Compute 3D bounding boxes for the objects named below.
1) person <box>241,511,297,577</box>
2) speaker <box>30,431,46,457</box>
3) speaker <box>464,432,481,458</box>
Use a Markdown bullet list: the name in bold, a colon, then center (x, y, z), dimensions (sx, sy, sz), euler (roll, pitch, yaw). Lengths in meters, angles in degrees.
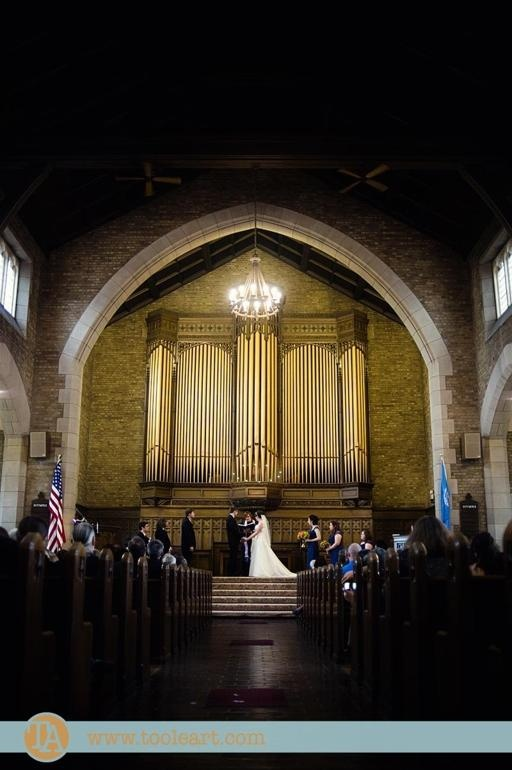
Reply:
- **person**: center (0.280, 3.376, 13.188), dimensions (1.226, 1.366, 0.734), euler (-1, -16, 5)
- **speaker**: center (-4.056, 1.125, 11.521), dimensions (0.322, 0.508, 0.198), euler (3, -6, -16)
- **speaker**: center (3.962, 1.126, 11.318), dimensions (0.311, 0.582, 0.313), euler (3, -30, 4)
